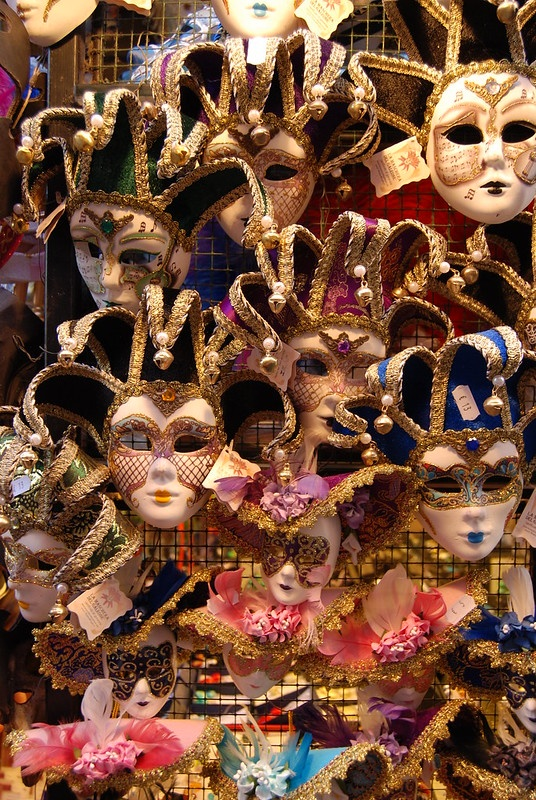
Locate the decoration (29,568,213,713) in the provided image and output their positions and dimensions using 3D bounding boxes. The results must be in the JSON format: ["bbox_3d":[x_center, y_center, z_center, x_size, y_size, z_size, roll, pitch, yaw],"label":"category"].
[{"bbox_3d":[-0.260,0.526,1.774,0.466,0.296,0.250,-2,80,-17],"label":"decoration"}]

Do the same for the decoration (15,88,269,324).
[{"bbox_3d":[-0.307,-0.385,1.727,0.591,0.299,0.416,8,99,17],"label":"decoration"}]

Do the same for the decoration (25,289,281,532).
[{"bbox_3d":[-0.196,-0.003,1.672,0.619,0.212,0.459,2,82,-8],"label":"decoration"}]

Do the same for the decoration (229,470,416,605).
[{"bbox_3d":[0.110,0.234,1.658,0.461,0.242,0.252,-5,54,9],"label":"decoration"}]

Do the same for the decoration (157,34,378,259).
[{"bbox_3d":[-0.010,-0.568,1.792,0.495,0.276,0.380,3,107,3],"label":"decoration"}]

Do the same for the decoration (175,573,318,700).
[{"bbox_3d":[-0.026,0.467,1.723,0.320,0.178,0.260,2,90,-21],"label":"decoration"}]

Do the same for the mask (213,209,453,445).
[{"bbox_3d":[0.144,-0.148,1.718,0.549,0.222,0.429,6,89,-24],"label":"mask"}]

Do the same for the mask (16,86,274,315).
[{"bbox_3d":[-0.305,-0.384,1.730,0.592,0.301,0.403,9,98,19],"label":"mask"}]

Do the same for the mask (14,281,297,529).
[{"bbox_3d":[-0.210,0.010,1.672,0.600,0.155,0.438,4,87,-1],"label":"mask"}]

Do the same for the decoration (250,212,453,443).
[{"bbox_3d":[0.159,-0.135,1.697,0.495,0.305,0.426,10,83,-24],"label":"decoration"}]

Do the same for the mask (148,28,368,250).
[{"bbox_3d":[-0.021,-0.581,1.802,0.516,0.282,0.410,1,90,-1],"label":"mask"}]
